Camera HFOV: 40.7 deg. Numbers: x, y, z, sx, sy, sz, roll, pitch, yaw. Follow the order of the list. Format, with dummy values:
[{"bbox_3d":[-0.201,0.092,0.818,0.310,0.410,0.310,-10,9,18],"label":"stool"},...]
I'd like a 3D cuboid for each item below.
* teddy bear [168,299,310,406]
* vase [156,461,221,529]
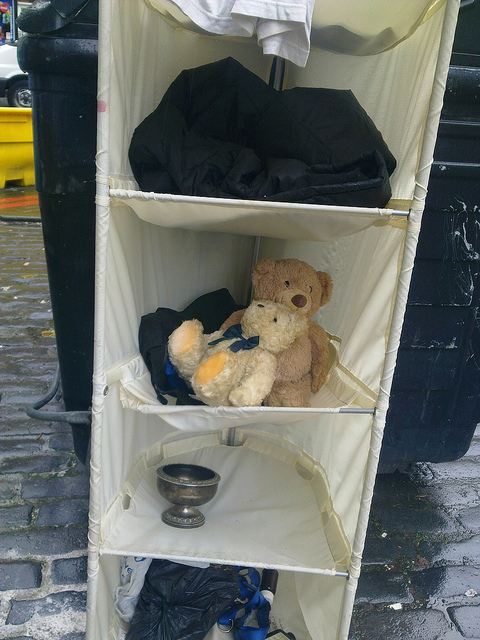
[{"bbox_3d":[0.006,0.045,1.511,0.342,0.116,0.256,-34,48,-28],"label":"teddy bear"},{"bbox_3d":[-0.136,0.459,1.674,0.175,0.132,0.176,5,-1,-14],"label":"vase"}]
